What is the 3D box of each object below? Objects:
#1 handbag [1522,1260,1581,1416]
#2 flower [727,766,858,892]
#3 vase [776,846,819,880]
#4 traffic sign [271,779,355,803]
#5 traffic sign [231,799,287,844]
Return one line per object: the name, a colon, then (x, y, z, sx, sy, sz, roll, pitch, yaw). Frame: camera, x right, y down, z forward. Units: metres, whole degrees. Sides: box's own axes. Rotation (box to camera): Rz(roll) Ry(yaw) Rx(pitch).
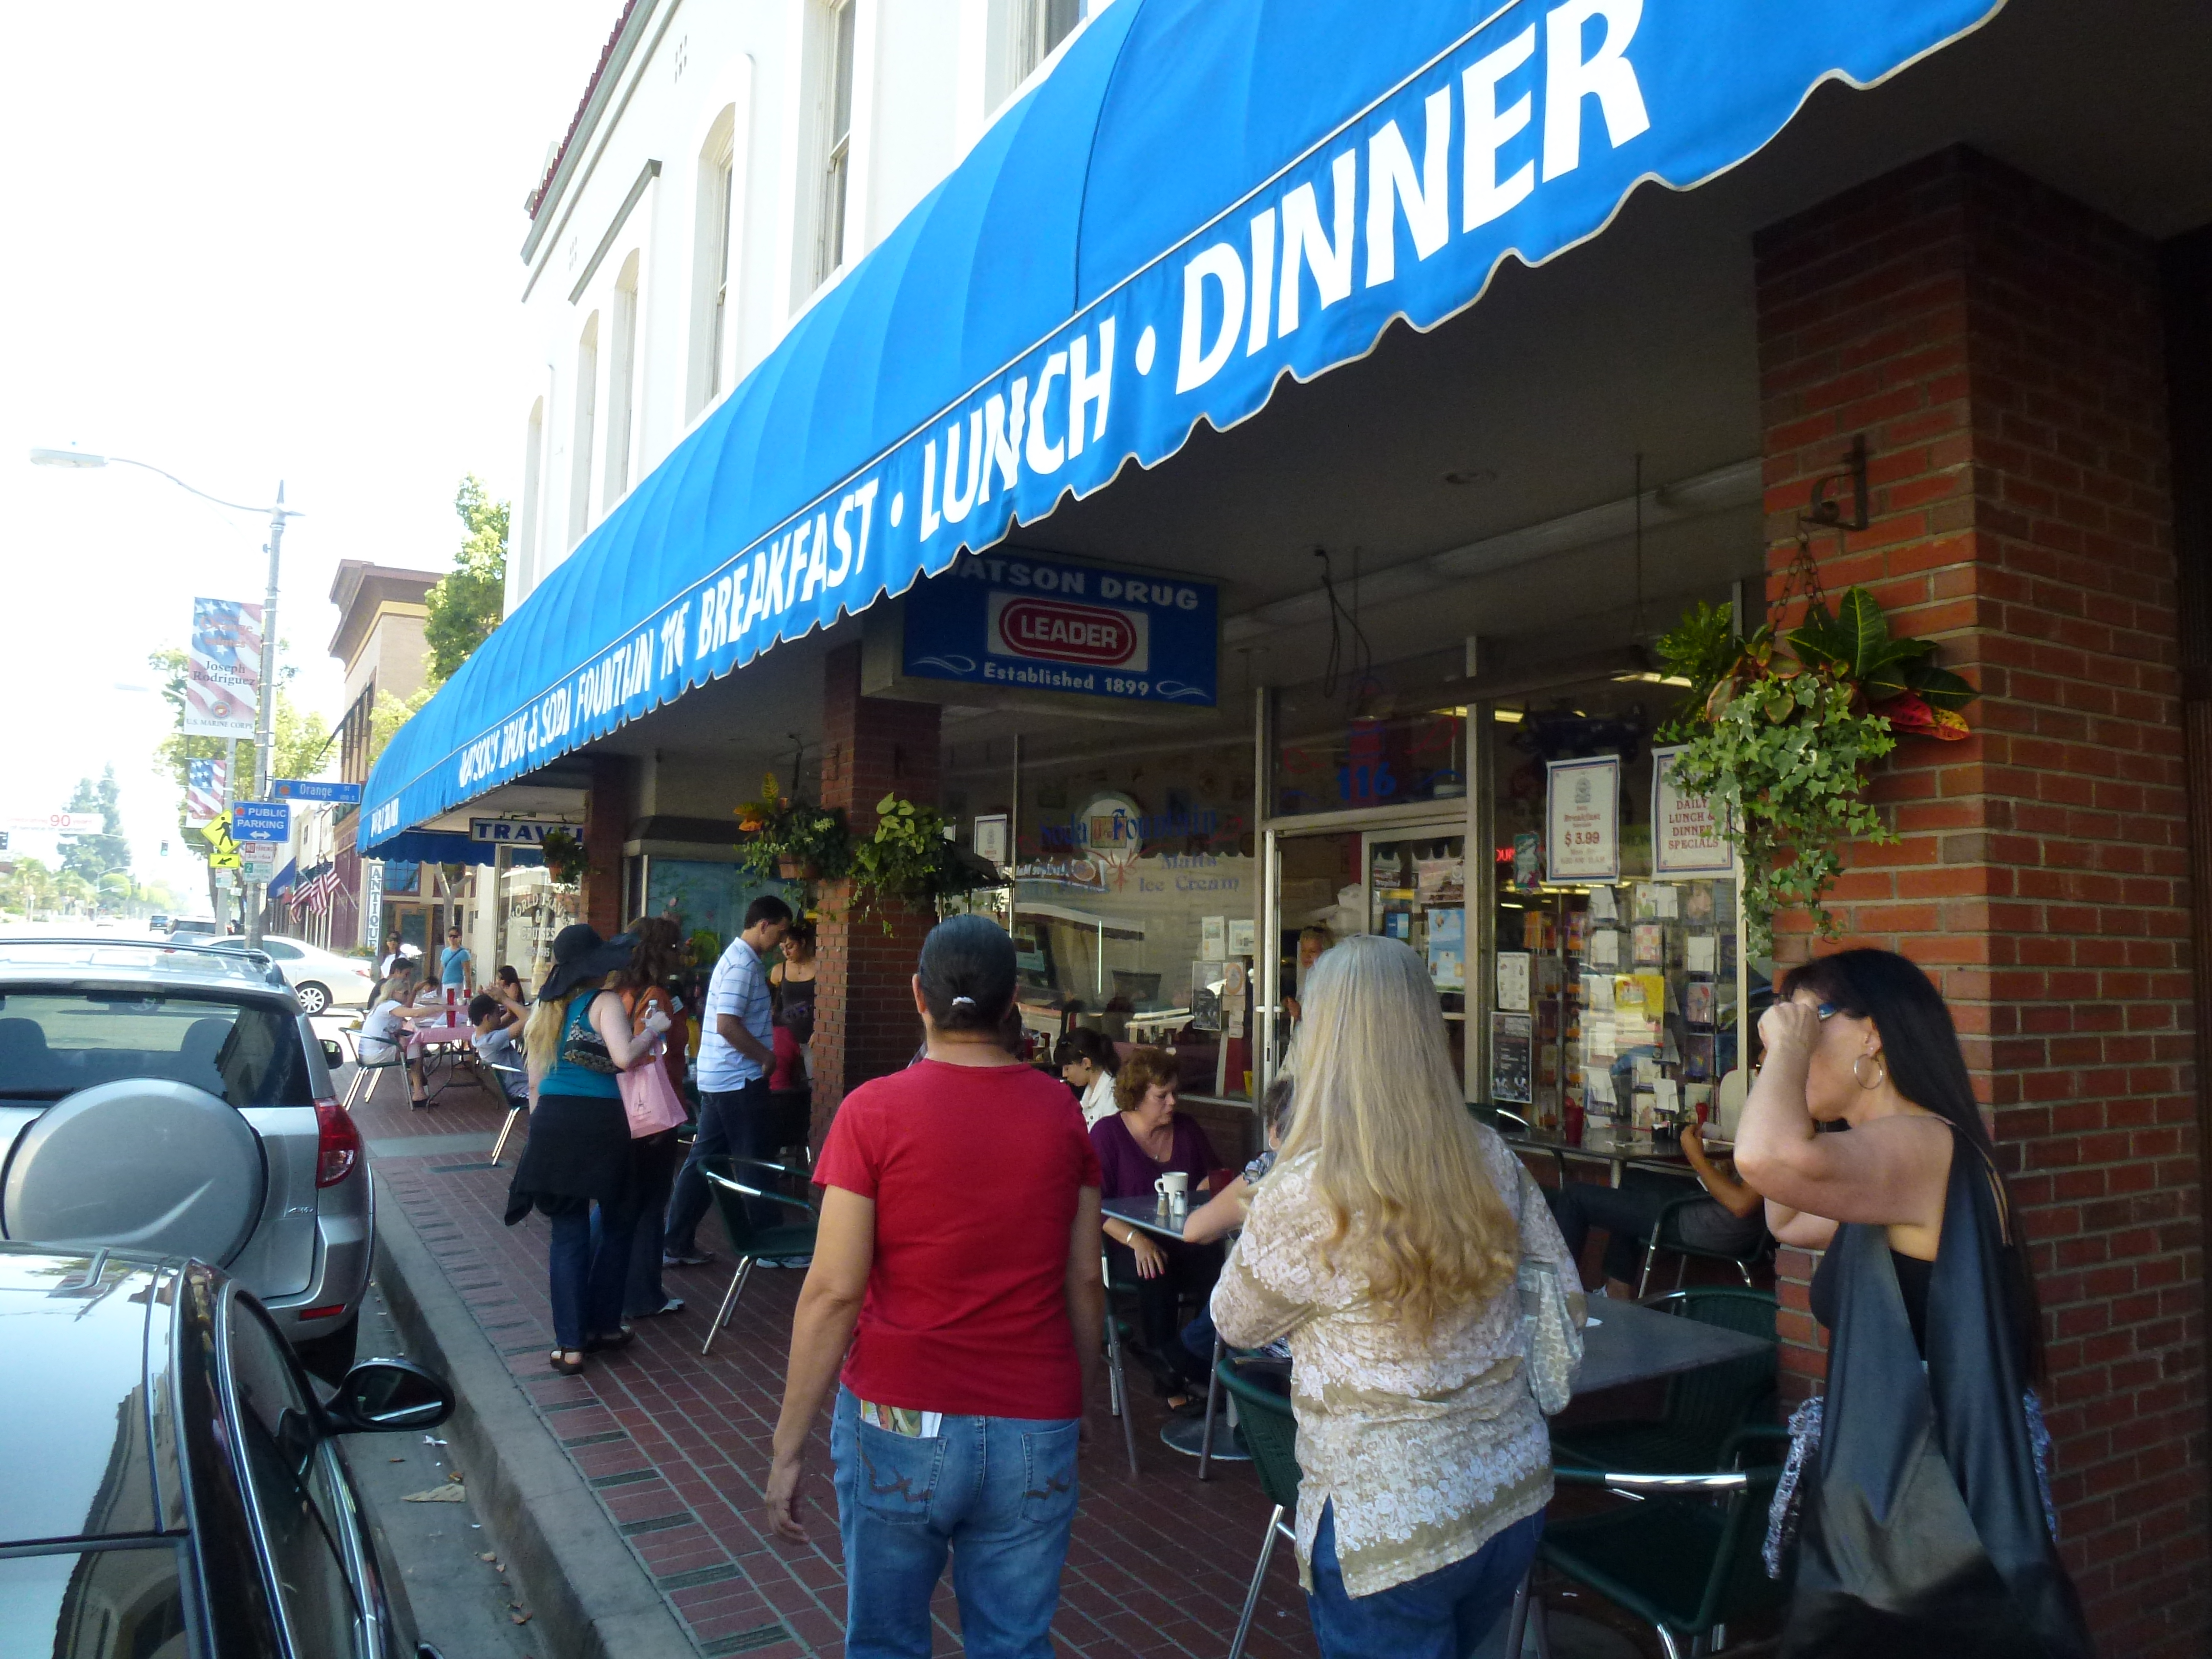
handbag: (0.967, 1.112, 3.729, 0.070, 0.267, 0.187, 4, -10, 2)
flower: (-1.827, 0.035, 10.114, 0.675, 0.533, 0.700, 9, -15, -32)
vase: (-1.837, 0.206, 10.196, 0.191, 0.094, 0.286, 2, -6, 1)
traffic sign: (-10.984, -0.597, 23.619, 0.995, 0.308, 2.162, 2, -2, -30)
traffic sign: (-11.828, -0.141, 23.808, 0.569, 0.448, 0.083, 1, 4, -28)
